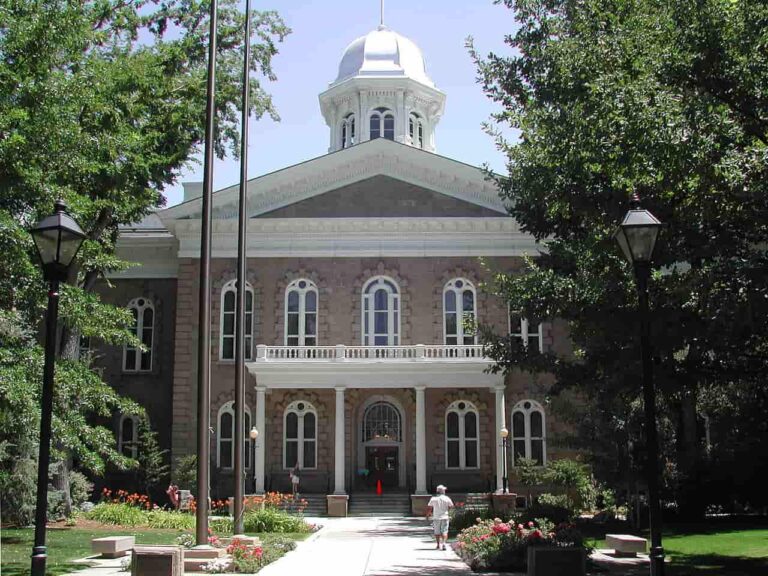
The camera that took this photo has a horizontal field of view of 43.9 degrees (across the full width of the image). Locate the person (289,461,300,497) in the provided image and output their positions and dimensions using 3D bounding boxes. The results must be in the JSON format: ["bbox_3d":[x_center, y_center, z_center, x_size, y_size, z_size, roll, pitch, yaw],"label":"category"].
[{"bbox_3d":[-3.787,8.168,40.723,0.425,1.563,1.450,0,-16,-6],"label":"person"}]

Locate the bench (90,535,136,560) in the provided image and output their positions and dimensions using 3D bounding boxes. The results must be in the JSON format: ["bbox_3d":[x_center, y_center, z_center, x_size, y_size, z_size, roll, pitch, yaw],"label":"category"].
[{"bbox_3d":[-7.736,7.364,27.230,0.891,0.637,1.128,-3,-17,3],"label":"bench"}]
